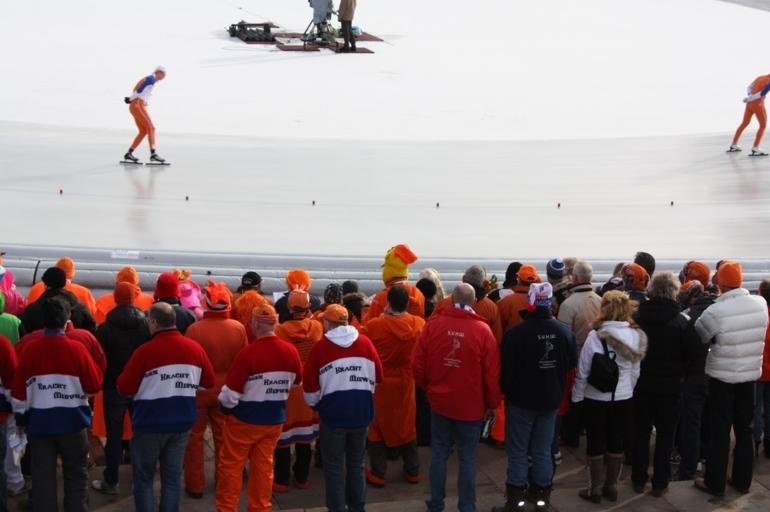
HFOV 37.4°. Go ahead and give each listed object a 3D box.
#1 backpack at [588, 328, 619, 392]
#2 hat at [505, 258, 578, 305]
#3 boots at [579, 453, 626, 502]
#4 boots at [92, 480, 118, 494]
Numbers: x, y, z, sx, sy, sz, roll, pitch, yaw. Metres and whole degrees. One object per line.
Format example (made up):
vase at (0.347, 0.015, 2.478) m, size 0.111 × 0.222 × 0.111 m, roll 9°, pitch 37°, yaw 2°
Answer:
backpack at (2.635, 1.328, 13.753) m, size 0.347 × 0.707 × 0.099 m, roll -2°, pitch -1°, yaw 1°
hat at (2.296, 0.328, 14.815) m, size 0.337 × 0.583 × 0.803 m, roll -2°, pitch -1°, yaw 10°
boots at (2.656, 2.689, 14.002) m, size 0.573 × 0.560 × 0.537 m, roll -1°, pitch -1°, yaw -8°
boots at (-3.411, 2.812, 13.853) m, size 0.329 × 0.133 × 0.132 m, roll 17°, pitch -2°, yaw 1°
